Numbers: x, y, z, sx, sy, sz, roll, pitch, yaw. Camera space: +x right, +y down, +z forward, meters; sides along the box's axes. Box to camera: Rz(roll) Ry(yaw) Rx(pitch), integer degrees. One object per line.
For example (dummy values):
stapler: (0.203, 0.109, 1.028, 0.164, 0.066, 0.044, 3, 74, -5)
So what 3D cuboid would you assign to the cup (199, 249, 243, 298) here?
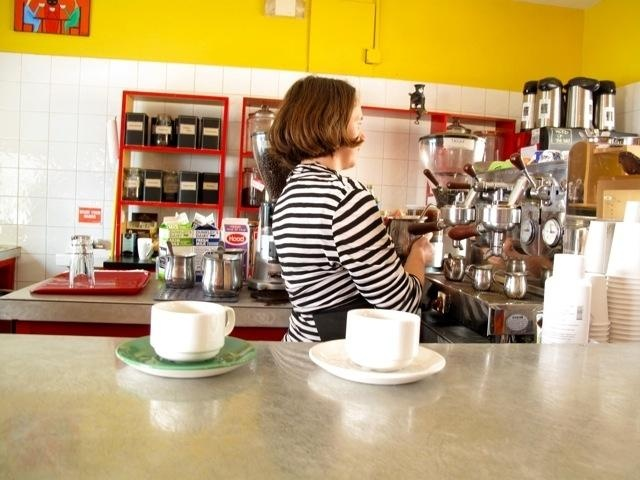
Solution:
cup: (-0.390, 0.128, 1.950, 0.137, 0.163, 0.219, 0, 8, -20)

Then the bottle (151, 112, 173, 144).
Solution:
bottle: (-1.169, -0.828, 3.731, 0.196, 0.306, 0.208, 1, 9, 0)

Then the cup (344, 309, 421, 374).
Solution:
cup: (0.108, 0.169, 0.845, 0.108, 0.091, 0.098, 11, 13, 41)

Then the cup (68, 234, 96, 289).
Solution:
cup: (-0.945, 0.070, 1.979, 0.088, 0.191, 0.212, -3, 11, -26)

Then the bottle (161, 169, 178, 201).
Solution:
bottle: (-1.161, -0.436, 3.853, 0.140, 0.261, 0.150, 8, 24, -4)

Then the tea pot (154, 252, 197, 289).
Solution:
tea pot: (-0.576, 0.110, 2.077, 0.125, 0.150, 0.203, 3, 9, -7)

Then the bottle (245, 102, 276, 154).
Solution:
bottle: (-0.453, -0.850, 3.837, 0.225, 0.392, 0.234, 0, 16, 0)

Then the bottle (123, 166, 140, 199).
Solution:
bottle: (-1.415, -0.422, 3.788, 0.182, 0.229, 0.117, 7, 11, 29)

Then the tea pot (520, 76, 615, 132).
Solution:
tea pot: (1.866, -1.004, 3.739, 0.600, 0.401, 0.514, 1, -1, 9)

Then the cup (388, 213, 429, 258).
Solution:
cup: (0.302, -0.010, 1.611, 0.108, 0.127, 0.112, -6, -6, -1)

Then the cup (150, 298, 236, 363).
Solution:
cup: (-0.220, 0.157, 0.883, 0.124, 0.088, 0.160, 3, 1, 40)

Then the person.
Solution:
person: (0.101, -0.049, 1.379, 0.481, 0.813, 0.533, 1, 10, -7)

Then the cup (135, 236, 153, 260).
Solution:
cup: (-1.251, 0.062, 3.595, 0.110, 0.145, 0.323, -2, 11, -20)
